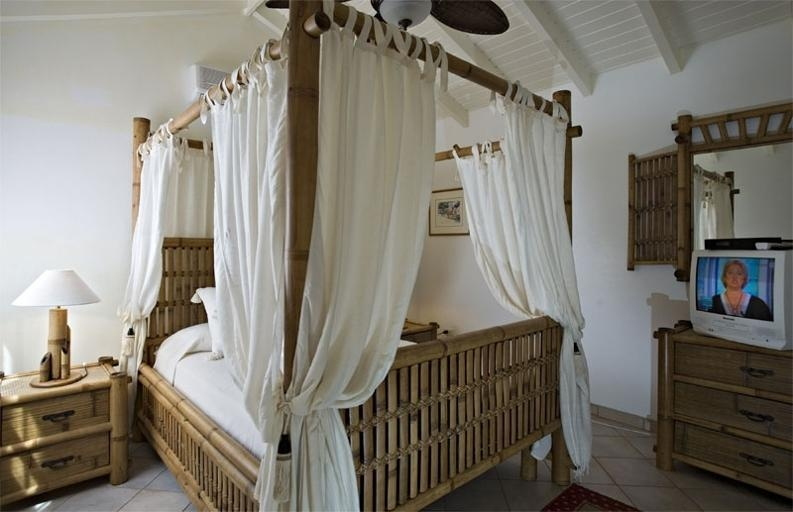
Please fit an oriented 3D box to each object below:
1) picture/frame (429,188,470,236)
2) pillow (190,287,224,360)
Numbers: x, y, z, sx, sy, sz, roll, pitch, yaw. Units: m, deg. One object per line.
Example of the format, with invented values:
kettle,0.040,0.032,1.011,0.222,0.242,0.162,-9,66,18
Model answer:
picture/frame,0.589,-0.493,6.087,0.023,0.572,0.540,-1,2,-41
pillow,-1.549,0.557,4.537,0.156,0.564,0.533,-4,6,-20
